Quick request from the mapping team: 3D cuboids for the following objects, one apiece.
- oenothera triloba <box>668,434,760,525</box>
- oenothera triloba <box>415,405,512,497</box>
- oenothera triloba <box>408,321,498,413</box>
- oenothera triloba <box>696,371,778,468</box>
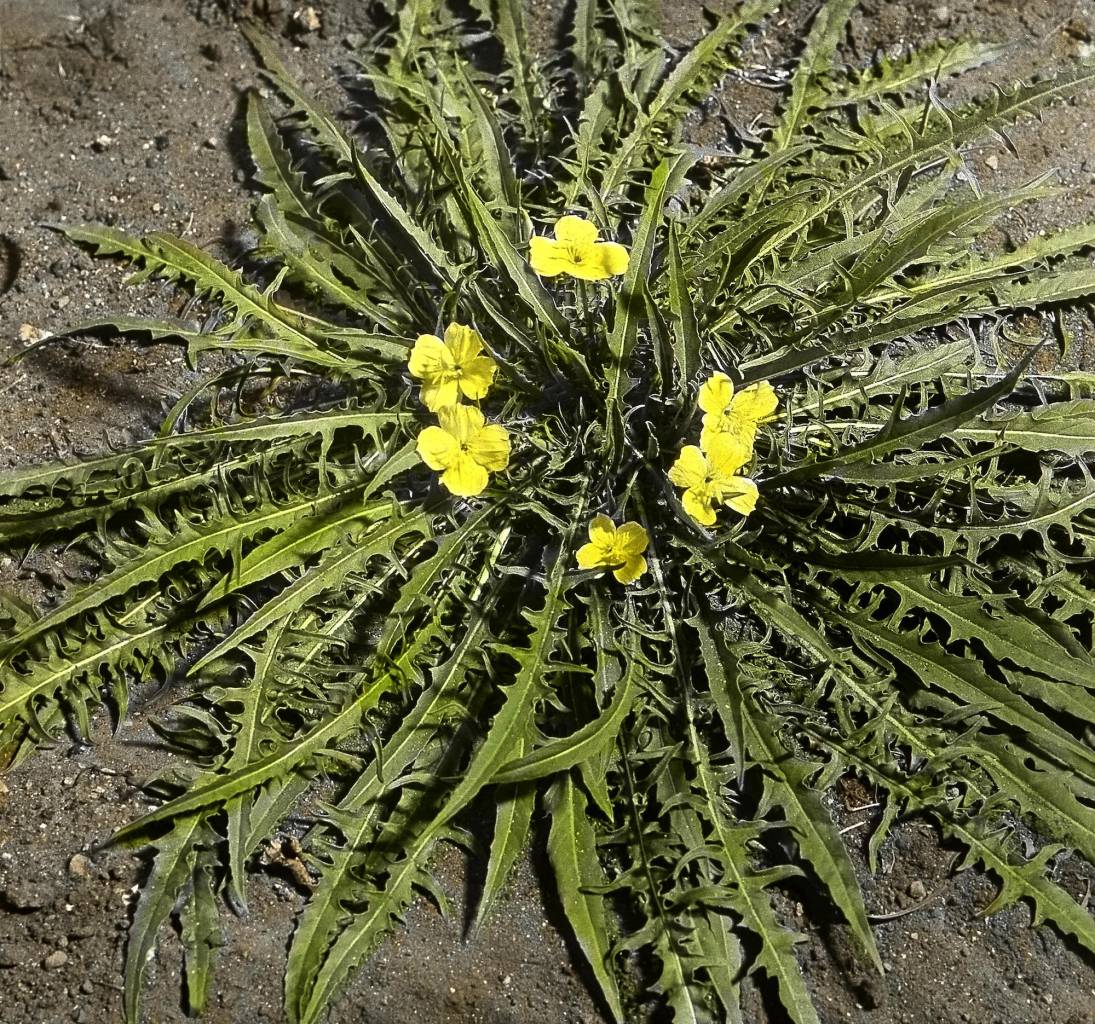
[{"bbox_3d":[0.292,-0.063,2.072,0.138,0.068,0.150,-20,77,-6],"label":"oenothera triloba"},{"bbox_3d":[-0.155,-0.112,2.080,0.184,0.060,0.158,8,86,-10],"label":"oenothera triloba"},{"bbox_3d":[-0.176,-0.256,2.137,0.144,0.197,0.156,-11,77,-3],"label":"oenothera triloba"},{"bbox_3d":[0.330,-0.172,2.095,0.175,0.060,0.152,4,89,-31],"label":"oenothera triloba"}]
